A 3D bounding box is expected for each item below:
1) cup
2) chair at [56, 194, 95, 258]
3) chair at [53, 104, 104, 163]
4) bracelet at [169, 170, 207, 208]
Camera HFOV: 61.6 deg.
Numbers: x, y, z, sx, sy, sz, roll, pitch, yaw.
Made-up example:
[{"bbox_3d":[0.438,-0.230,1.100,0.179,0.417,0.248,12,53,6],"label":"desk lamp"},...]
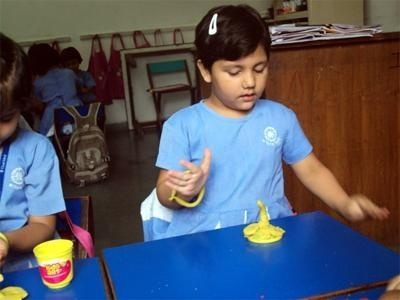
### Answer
[{"bbox_3d":[-0.341,0.266,0.817,0.091,0.106,0.101,-8,-6,-4],"label":"cup"},{"bbox_3d":[-0.513,0.318,1.351,0.189,0.249,0.148,-9,-13,11],"label":"chair"},{"bbox_3d":[-1.287,-0.171,3.561,0.463,0.689,0.341,-9,15,-27],"label":"chair"},{"bbox_3d":[-0.036,0.162,1.096,0.113,0.144,0.204,-3,14,0],"label":"bracelet"}]
